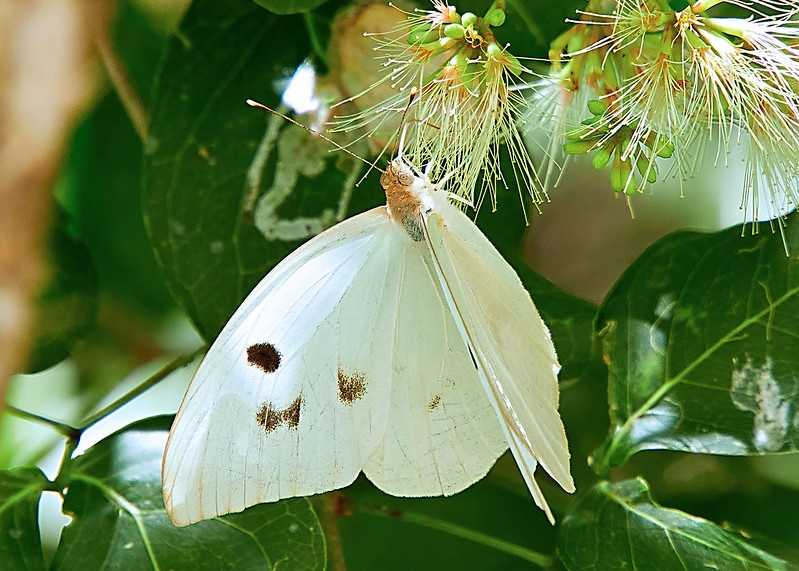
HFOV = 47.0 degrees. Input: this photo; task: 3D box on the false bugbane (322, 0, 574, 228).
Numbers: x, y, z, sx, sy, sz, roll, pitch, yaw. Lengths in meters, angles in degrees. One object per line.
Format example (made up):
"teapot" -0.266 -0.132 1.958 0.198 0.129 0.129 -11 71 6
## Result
"false bugbane" 0.091 -0.355 1.708 0.355 0.450 0.221 23 21 0
